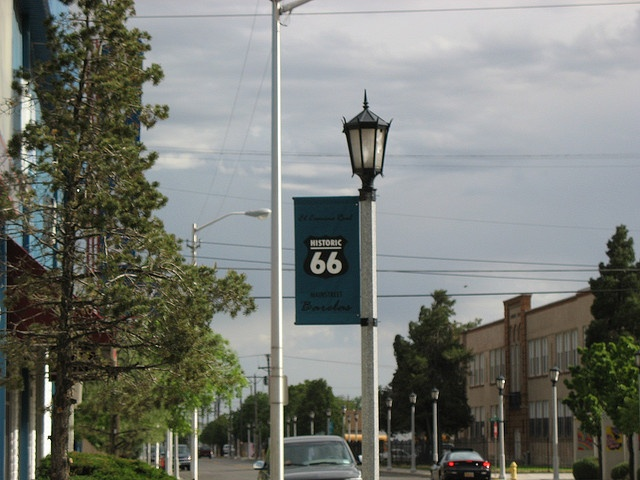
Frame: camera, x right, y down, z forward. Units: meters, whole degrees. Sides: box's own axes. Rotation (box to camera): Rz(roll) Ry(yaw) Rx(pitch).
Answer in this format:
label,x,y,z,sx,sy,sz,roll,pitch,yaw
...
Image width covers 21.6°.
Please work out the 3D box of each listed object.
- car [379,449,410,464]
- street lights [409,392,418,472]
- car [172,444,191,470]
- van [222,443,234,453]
label,x,y,z,sx,sy,sz,roll,pitch,yaw
car,5.567,16.619,126.802,2.199,1.304,1.376,-5,-2,4
street lights,5.599,11.592,101.817,0.679,4.974,0.677,1,2,32
car,-8.938,13.897,108.404,1.239,1.457,2.711,0,-14,-6
van,-9.830,21.973,177.792,1.291,1.133,3.112,0,4,0
